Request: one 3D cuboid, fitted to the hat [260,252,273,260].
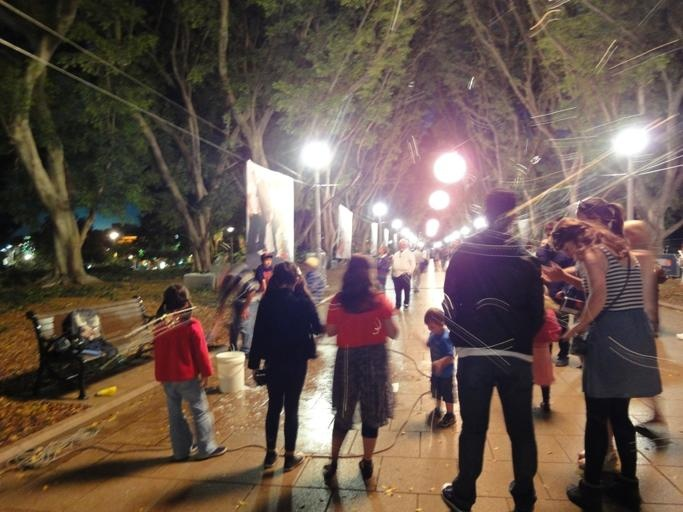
[{"bbox_3d":[-1.452,0.040,8.871,0.208,0.146,0.180,-23,-17,6],"label":"hat"}]

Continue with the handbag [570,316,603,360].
[{"bbox_3d":[2.470,0.842,4.577,0.186,0.450,0.455,-2,-5,14],"label":"handbag"}]

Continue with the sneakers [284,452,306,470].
[{"bbox_3d":[-0.537,2.373,5.253,0.102,0.172,0.262,0,2,27],"label":"sneakers"}]

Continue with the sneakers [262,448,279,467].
[{"bbox_3d":[-0.832,2.365,5.290,0.089,0.112,0.255,1,10,9],"label":"sneakers"}]

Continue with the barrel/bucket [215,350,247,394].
[{"bbox_3d":[-1.946,1.965,7.716,0.624,0.633,0.614,-1,-2,0],"label":"barrel/bucket"}]

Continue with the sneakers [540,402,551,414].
[{"bbox_3d":[2.825,2.117,6.236,0.138,0.165,0.143,-2,7,20],"label":"sneakers"}]

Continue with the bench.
[{"bbox_3d":[-4.351,1.578,8.028,1.272,1.539,2.297,-1,-5,3],"label":"bench"}]

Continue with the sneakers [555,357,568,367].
[{"bbox_3d":[3.933,1.900,8.013,0.301,0.106,0.131,3,2,27],"label":"sneakers"}]

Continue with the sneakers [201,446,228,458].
[{"bbox_3d":[-1.538,2.404,5.501,0.269,0.116,0.100,-7,0,-23],"label":"sneakers"}]

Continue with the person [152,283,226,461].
[{"bbox_3d":[-1.858,1.407,5.478,0.781,2.131,0.504,1,-5,-17],"label":"person"}]

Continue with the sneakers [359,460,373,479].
[{"bbox_3d":[0.280,2.362,5.038,0.151,0.228,0.192,-1,-5,1],"label":"sneakers"}]
